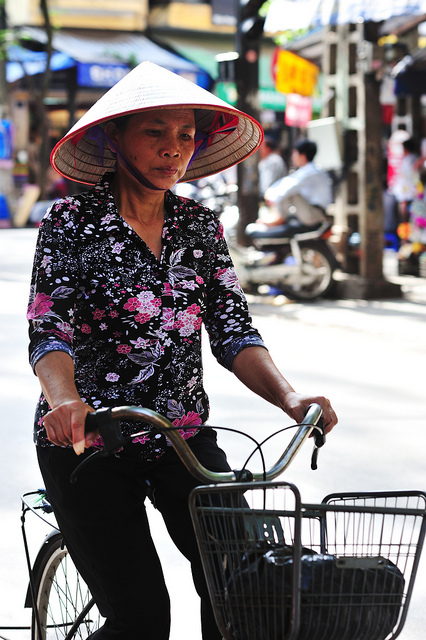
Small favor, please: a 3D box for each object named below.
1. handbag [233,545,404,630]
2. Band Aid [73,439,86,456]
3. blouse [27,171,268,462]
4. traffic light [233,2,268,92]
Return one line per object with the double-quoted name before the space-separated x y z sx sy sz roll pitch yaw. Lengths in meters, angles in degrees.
"handbag" 0.200 0.495 1.992 0.282 0.116 0.174 1 0 -32
"Band Aid" -0.253 0.242 2.004 0.023 0.028 0.011 -10 25 -27
"blouse" -0.161 -0.023 2.556 0.600 0.594 0.378 -2 13 -22
"traffic light" 0.380 -2.855 10.937 0.391 0.898 0.795 -3 11 2
